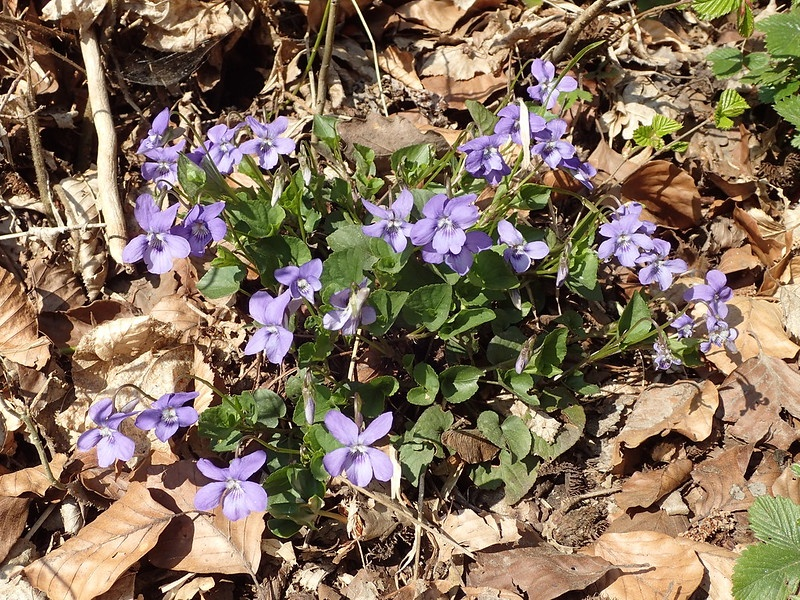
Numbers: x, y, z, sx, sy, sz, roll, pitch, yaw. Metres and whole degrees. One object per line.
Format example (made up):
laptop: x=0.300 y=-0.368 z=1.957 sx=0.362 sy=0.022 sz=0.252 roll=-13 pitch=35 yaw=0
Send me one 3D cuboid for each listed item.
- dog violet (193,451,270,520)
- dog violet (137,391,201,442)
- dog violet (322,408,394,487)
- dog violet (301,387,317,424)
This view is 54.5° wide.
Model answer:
dog violet: x=-0.767 y=0.795 z=3.449 sx=0.266 sy=0.066 sz=0.289 roll=15 pitch=15 yaw=33
dog violet: x=-1.067 y=0.508 z=3.575 sx=0.281 sy=0.109 sz=0.317 roll=-6 pitch=22 yaw=35
dog violet: x=-0.194 y=0.627 z=3.341 sx=0.356 sy=0.110 sz=0.343 roll=9 pitch=58 yaw=-41
dog violet: x=-0.410 y=0.511 z=3.542 sx=0.040 sy=0.268 sz=0.159 roll=-5 pitch=57 yaw=-12
